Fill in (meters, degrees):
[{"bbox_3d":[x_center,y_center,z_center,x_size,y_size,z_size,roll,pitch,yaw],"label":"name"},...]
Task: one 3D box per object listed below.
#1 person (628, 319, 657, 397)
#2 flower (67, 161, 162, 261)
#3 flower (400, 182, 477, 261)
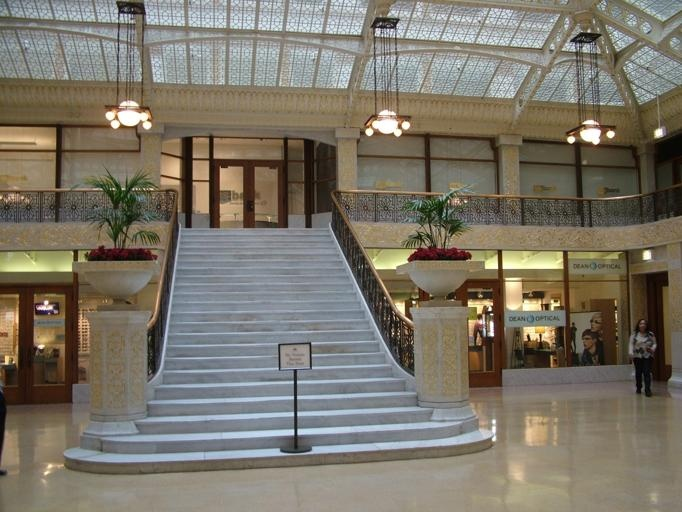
[{"bbox_3d":[6.599,2.187,12.213,0.506,1.603,1.102,-4,-7,25],"label":"person"},{"bbox_3d":[-3.287,-0.514,8.218,1.348,1.394,1.085,-22,6,-34],"label":"flower"},{"bbox_3d":[1.545,-0.449,8.961,1.171,1.062,1.115,5,-3,-34],"label":"flower"}]
